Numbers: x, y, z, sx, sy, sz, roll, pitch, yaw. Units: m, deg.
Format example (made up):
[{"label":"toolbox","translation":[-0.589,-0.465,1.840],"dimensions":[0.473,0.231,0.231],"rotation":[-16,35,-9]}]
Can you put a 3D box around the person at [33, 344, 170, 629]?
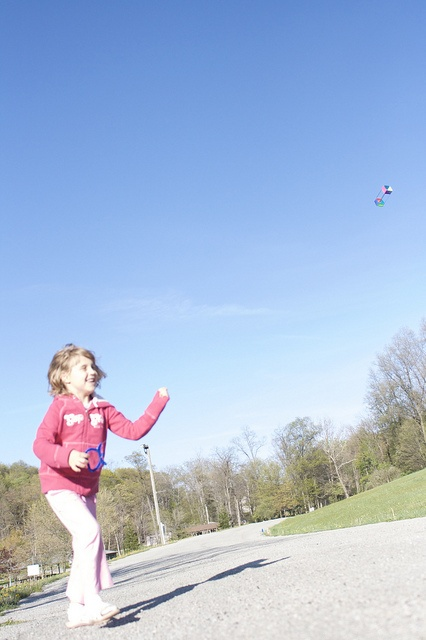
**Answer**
[{"label":"person","translation":[-0.847,0.958,2.908],"dimensions":[0.560,1.767,0.835],"rotation":[-17,-20,12]}]
